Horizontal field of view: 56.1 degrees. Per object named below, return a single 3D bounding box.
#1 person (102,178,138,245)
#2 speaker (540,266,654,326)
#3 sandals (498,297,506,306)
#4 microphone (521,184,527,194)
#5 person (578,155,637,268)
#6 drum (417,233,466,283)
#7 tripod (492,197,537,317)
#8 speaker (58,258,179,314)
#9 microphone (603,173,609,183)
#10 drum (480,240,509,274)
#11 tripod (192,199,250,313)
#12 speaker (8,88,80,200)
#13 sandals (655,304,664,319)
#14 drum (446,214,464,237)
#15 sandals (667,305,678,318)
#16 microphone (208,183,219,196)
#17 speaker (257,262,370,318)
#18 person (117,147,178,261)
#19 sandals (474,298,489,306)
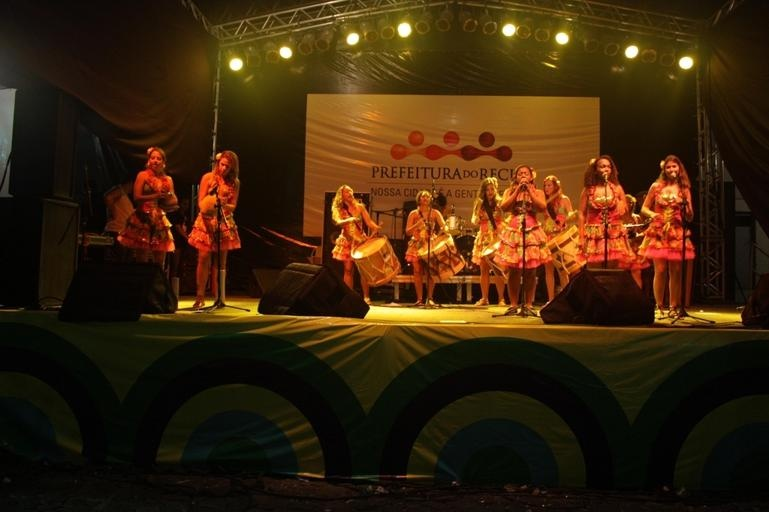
[{"bbox_3d":[-3.467,-0.579,9.477,0.434,0.772,0.649,10,-36,-19],"label":"person"},{"bbox_3d":[2.205,0.453,7.342,0.651,0.530,0.836,7,-14,-25],"label":"speaker"},{"bbox_3d":[1.722,0.690,10.570,0.067,0.089,0.222,-2,-21,-2],"label":"sandals"},{"bbox_3d":[1.615,-0.798,8.396,0.064,0.066,0.016,26,-9,4],"label":"microphone"},{"bbox_3d":[2.637,-0.505,8.747,0.505,1.301,0.854,-4,-9,33],"label":"person"},{"bbox_3d":[0.725,-0.015,10.145,0.440,0.674,0.872,-4,-10,33],"label":"drum"},{"bbox_3d":[1.591,0.058,8.710,0.419,1.381,0.769,-1,-8,11],"label":"tripod"},{"bbox_3d":[-2.656,0.359,7.174,0.661,0.417,0.678,0,-3,-3],"label":"speaker"},{"bbox_3d":[2.604,-0.930,8.518,0.051,0.148,0.051,1,-29,-8],"label":"microphone"},{"bbox_3d":[1.450,0.048,9.648,0.410,0.356,0.390,-14,24,8],"label":"drum"},{"bbox_3d":[-1.905,0.028,8.445,0.599,1.309,1.022,3,-8,-16],"label":"tripod"},{"bbox_3d":[-3.666,-1.219,7.776,0.614,1.204,0.245,5,-9,-27],"label":"speaker"},{"bbox_3d":[3.332,0.677,8.782,0.104,0.155,0.173,-1,-17,11],"label":"sandals"},{"bbox_3d":[1.138,-0.479,11.508,0.298,0.339,0.353,1,-1,20],"label":"drum"},{"bbox_3d":[3.364,0.661,8.417,0.118,0.153,0.348,-3,-9,21],"label":"sandals"},{"bbox_3d":[-1.956,-0.774,8.300,0.091,0.148,0.268,4,-9,-25],"label":"microphone"},{"bbox_3d":[-0.747,0.352,7.639,1.154,0.599,0.543,2,-8,-11],"label":"speaker"},{"bbox_3d":[-2.803,-0.650,8.584,0.628,1.436,0.464,4,-8,-20],"label":"person"},{"bbox_3d":[1.436,0.673,10.650,0.099,0.124,0.289,-1,1,-33],"label":"sandals"}]
